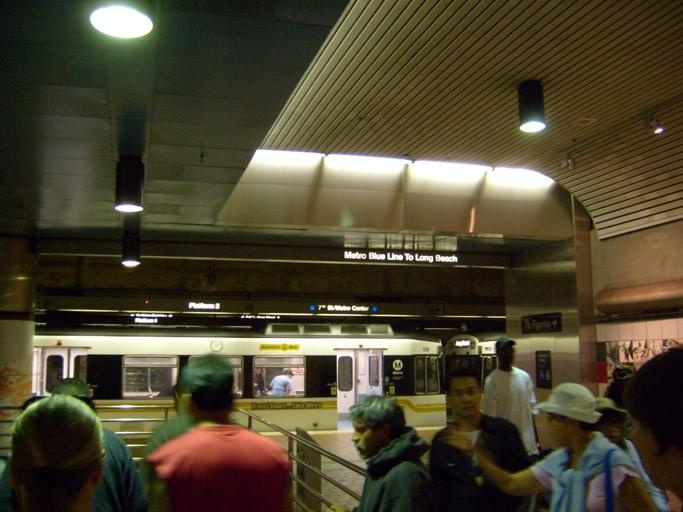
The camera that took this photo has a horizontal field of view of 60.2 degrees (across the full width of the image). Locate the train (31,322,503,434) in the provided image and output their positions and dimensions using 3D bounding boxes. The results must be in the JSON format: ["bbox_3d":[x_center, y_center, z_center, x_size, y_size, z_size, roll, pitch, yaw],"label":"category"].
[{"bbox_3d":[-2.472,3.795,17.624,13.623,2.932,2.779,1,-9,-8],"label":"train"}]

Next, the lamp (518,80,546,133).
[{"bbox_3d":[1.937,-1.549,6.062,0.245,0.614,0.292,-4,-15,16],"label":"lamp"}]

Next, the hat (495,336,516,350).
[{"bbox_3d":[1.654,0.896,6.027,0.182,0.127,0.230,-3,-13,13],"label":"hat"}]

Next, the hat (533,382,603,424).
[{"bbox_3d":[1.198,0.779,3.127,0.304,0.200,0.270,-5,-14,18],"label":"hat"}]
